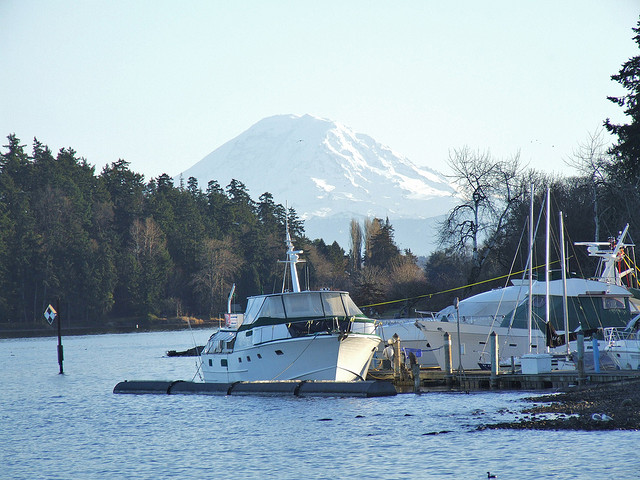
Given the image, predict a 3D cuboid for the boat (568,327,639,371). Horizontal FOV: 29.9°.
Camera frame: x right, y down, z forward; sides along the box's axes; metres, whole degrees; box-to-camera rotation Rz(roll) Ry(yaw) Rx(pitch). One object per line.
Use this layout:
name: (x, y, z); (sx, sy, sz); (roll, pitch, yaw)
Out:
boat: (16.284, 6.633, 72.013); (5.337, 2.835, 1.948); (-1, -5, 19)

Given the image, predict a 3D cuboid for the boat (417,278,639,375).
boat: (14.555, 4.996, 74.825); (15.839, 7.055, 5.833); (-1, -3, 1)
